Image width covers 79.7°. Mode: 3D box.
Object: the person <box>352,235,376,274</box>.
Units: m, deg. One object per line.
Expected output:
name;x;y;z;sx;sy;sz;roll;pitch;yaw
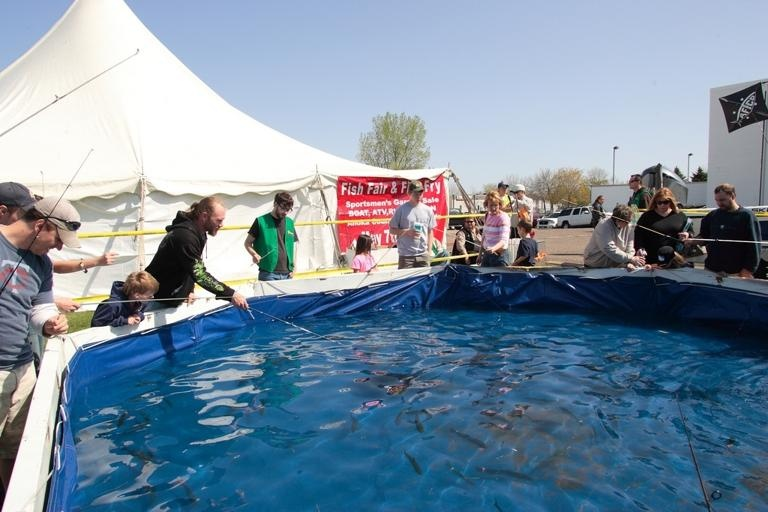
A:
person;-0.342;-0.031;8.112;0.397;0.658;0.946;-3;13;-1

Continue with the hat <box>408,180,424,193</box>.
hat;0.530;-1.089;7.494;0.297;0.165;0.358;-7;7;-17

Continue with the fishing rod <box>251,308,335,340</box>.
fishing rod;-1.424;1.060;6.963;1.397;0.149;0.033;15;-13;10

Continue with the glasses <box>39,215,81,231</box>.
glasses;-2.465;-0.252;3.510;0.183;0.081;0.130;20;1;-22

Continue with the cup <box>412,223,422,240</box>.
cup;0.586;-0.404;7.653;0.123;0.245;0.171;2;15;16

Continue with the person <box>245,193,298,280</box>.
person;-1.744;-0.260;7.149;0.739;1.440;0.598;-5;15;-11

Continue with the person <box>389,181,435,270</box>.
person;0.484;-0.470;7.676;0.734;1.504;0.472;-2;15;3

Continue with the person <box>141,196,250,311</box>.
person;-2.284;-0.022;5.451;1.143;1.310;0.417;4;16;23
